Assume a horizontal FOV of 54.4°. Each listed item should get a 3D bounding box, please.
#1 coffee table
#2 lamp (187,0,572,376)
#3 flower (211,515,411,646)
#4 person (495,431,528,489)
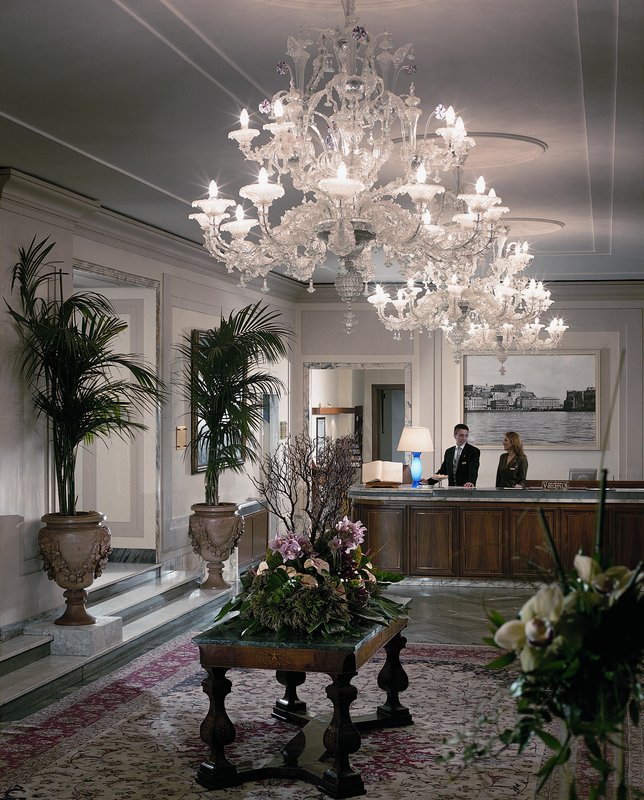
[{"bbox_3d":[-0.038,1.647,3.678,0.855,0.699,1.316,-3,-10,15],"label":"coffee table"},{"bbox_3d":[0.444,-1.439,4.623,1.803,2.536,1.759,-1,-7,7],"label":"lamp"},{"bbox_3d":[0.015,1.050,3.635,0.837,0.491,0.799,-1,-24,-10],"label":"flower"},{"bbox_3d":[2.620,0.837,8.730,0.394,0.757,0.893,-1,-5,15],"label":"person"}]
